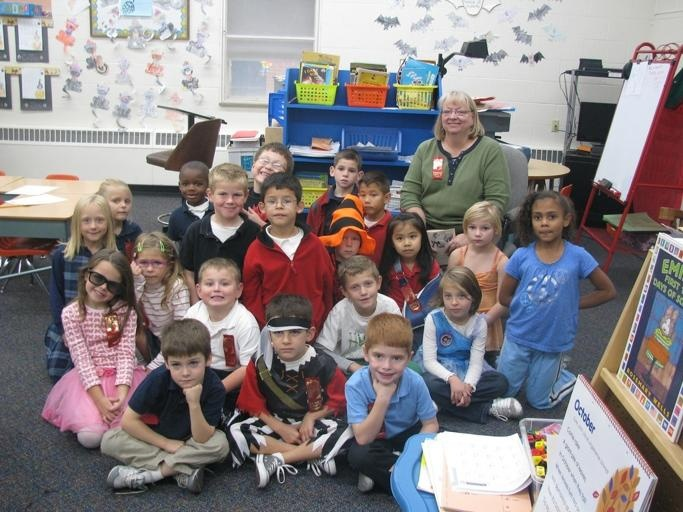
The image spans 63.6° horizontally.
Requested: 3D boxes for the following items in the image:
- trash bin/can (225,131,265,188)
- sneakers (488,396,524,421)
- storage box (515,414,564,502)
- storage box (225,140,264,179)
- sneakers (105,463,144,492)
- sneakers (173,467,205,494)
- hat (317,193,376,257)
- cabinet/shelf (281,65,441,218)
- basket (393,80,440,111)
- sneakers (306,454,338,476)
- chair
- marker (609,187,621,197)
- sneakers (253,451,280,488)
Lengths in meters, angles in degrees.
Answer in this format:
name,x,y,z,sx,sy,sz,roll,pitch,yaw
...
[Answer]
name,x,y,z,sx,sy,sz,roll,pitch,yaw
trash bin/can,-0.828,-0.818,4.725,0.292,0.388,0.302,-3,17,-13
sneakers,0.817,0.757,2.727,0.171,0.091,0.074,-13,13,42
storage box,0.653,0.658,1.803,0.141,0.078,0.227,-1,10,6
storage box,-0.835,-0.855,4.717,0.314,0.294,0.261,-27,50,-28
sneakers,-0.881,0.904,2.236,0.076,0.071,0.185,-4,-2,3
sneakers,-0.633,0.908,2.255,0.131,0.089,0.077,4,19,0
hat,-0.003,-0.193,3.147,0.287,0.184,0.437,-2,46,-13
cabinet/shelf,0.134,-0.836,3.959,1.250,1.240,0.382,0,10,-2
basket,0.562,-1.212,4.186,0.253,0.137,0.201,2,13,9
sneakers,-0.078,0.896,2.351,0.062,0.059,0.150,-1,-1,-18
chair,-1.438,-0.913,5.268,0.599,0.965,0.677,15,21,19
marker,2.257,-0.518,4.536,0.046,0.035,0.066,2,27,-18
sneakers,-0.320,0.892,2.304,0.093,0.099,0.123,13,21,23
